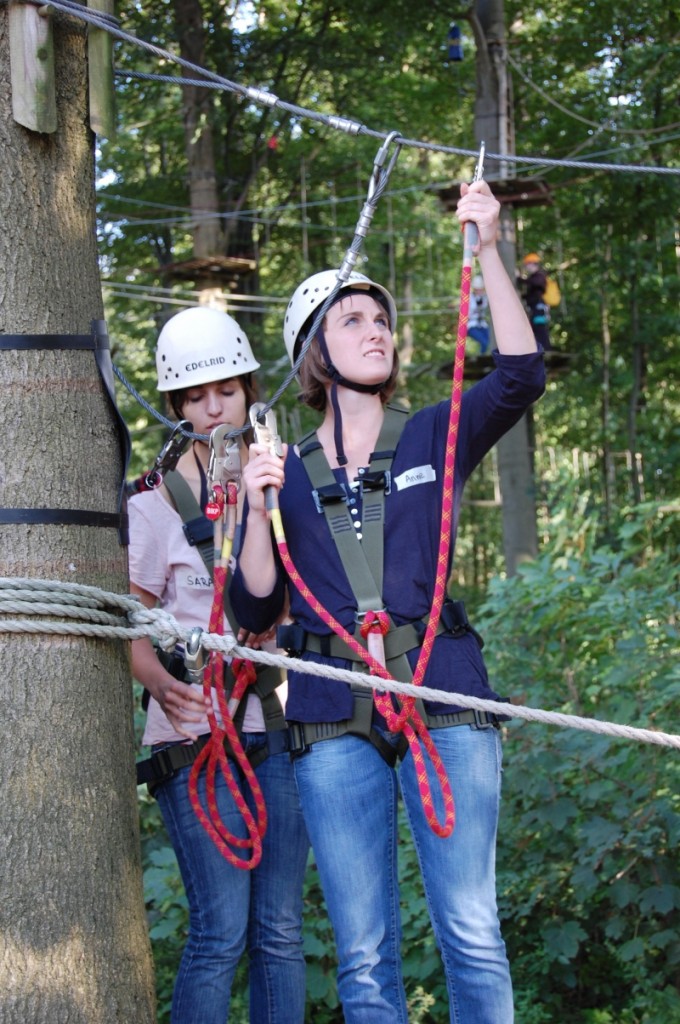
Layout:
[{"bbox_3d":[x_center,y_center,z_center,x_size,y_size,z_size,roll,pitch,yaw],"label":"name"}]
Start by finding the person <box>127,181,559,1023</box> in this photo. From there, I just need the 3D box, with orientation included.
[{"bbox_3d":[0.111,0.271,3.380,0.609,2.046,0.918,-3,3,-26],"label":"person"}]

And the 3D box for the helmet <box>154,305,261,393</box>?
[{"bbox_3d":[-0.397,-0.475,4.257,0.274,0.172,0.283,-16,5,4],"label":"helmet"}]
